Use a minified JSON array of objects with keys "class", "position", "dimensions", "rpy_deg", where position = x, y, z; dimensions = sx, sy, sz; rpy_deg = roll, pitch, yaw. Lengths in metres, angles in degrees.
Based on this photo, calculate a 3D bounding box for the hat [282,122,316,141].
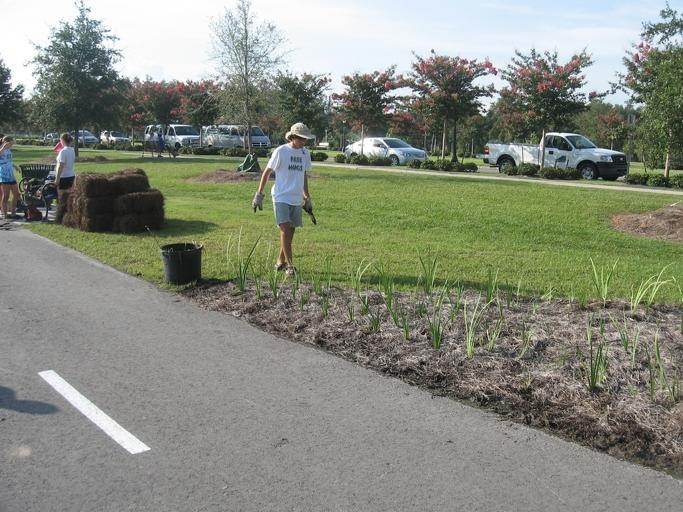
[{"class":"hat","position":[-0.564,-1.734,9.636],"dimensions":[0.385,0.315,0.488],"rpy_deg":[-7,9,-43]}]

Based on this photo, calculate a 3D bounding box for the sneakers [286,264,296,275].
[{"class":"sneakers","position":[-0.717,0.199,9.657],"dimensions":[0.082,0.137,0.180],"rpy_deg":[-1,-2,-1]}]

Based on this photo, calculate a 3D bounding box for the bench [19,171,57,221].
[{"class":"bench","position":[-6.902,-1.362,15.556],"dimensions":[0.862,1.352,0.872],"rpy_deg":[9,9,30]}]

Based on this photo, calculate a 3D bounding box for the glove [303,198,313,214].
[{"class":"glove","position":[-0.514,-0.763,10.416],"dimensions":[0.154,0.268,0.069],"rpy_deg":[-5,-3,-2]}]

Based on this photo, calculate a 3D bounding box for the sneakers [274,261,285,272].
[{"class":"sneakers","position":[-0.887,0.153,9.886],"dimensions":[0.106,0.139,0.274],"rpy_deg":[0,-3,-15]}]

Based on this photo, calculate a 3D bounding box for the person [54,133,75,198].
[{"class":"person","position":[-5.791,-1.901,14.329],"dimensions":[0.395,1.260,1.349],"rpy_deg":[-4,11,-23]}]

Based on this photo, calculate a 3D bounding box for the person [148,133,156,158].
[{"class":"person","position":[-10.359,-6.053,37.517],"dimensions":[0.285,1.208,2.359],"rpy_deg":[-2,11,-16]}]

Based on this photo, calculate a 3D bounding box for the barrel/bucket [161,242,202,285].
[{"class":"barrel/bucket","position":[-2.177,0.049,9.515],"dimensions":[0.505,0.570,0.549],"rpy_deg":[2,18,-1]}]
